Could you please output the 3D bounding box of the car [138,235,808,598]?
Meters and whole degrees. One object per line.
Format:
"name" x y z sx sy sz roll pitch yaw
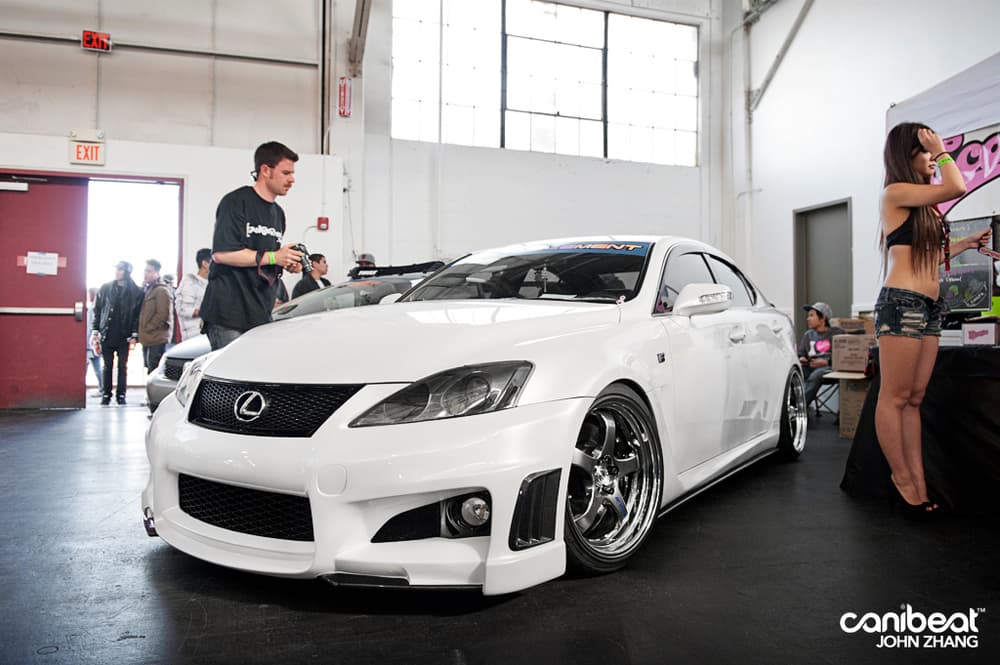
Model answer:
"car" 0.302 0.169 3.397 1.691 1.126 3.128 -3 -5 41

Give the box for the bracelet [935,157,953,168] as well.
"bracelet" 2.512 -0.957 3.541 0.060 0.031 0.070 -10 -8 42

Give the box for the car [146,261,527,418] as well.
"car" -1.909 -0.035 6.425 3.296 1.147 1.496 0 -1 -17

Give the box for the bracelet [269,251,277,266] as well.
"bracelet" -1.405 -0.453 3.879 0.057 0.060 0.022 2 -8 25

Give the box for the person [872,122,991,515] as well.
"person" 2.400 -0.101 3.632 0.386 2.191 0.345 3 6 33

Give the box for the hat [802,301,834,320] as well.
"hat" 4.571 -0.322 8.970 0.382 0.198 0.277 19 2 3

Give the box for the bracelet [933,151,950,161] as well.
"bracelet" 2.491 -0.988 3.545 0.062 0.020 0.060 -6 6 -43

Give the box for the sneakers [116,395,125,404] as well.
"sneakers" -5.412 0.952 9.000 0.125 0.114 0.094 -7 -15 17
